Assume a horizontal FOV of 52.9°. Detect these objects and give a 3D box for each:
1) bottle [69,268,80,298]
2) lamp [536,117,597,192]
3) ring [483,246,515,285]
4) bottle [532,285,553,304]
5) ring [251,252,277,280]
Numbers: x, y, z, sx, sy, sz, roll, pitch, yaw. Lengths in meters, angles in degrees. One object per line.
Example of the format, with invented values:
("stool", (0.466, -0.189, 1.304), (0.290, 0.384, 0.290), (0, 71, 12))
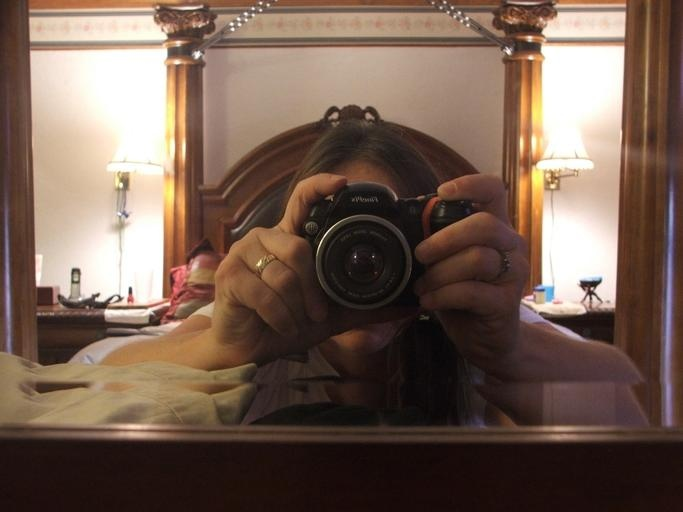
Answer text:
("bottle", (-0.369, 0.038, 0.956), (0.014, 0.045, 0.036), (0, 0, -21))
("lamp", (0.294, -0.138, 0.929), (0.078, 0.088, 0.072), (7, -2, 15))
("ring", (0.208, 0.006, 0.910), (0.033, 0.031, 0.012), (8, -4, 32))
("bottle", (0.269, 0.052, 0.915), (0.021, 0.022, 0.023), (1, -3, 8))
("ring", (-0.103, 0.013, 0.946), (0.028, 0.032, 0.032), (16, 7, -5))
